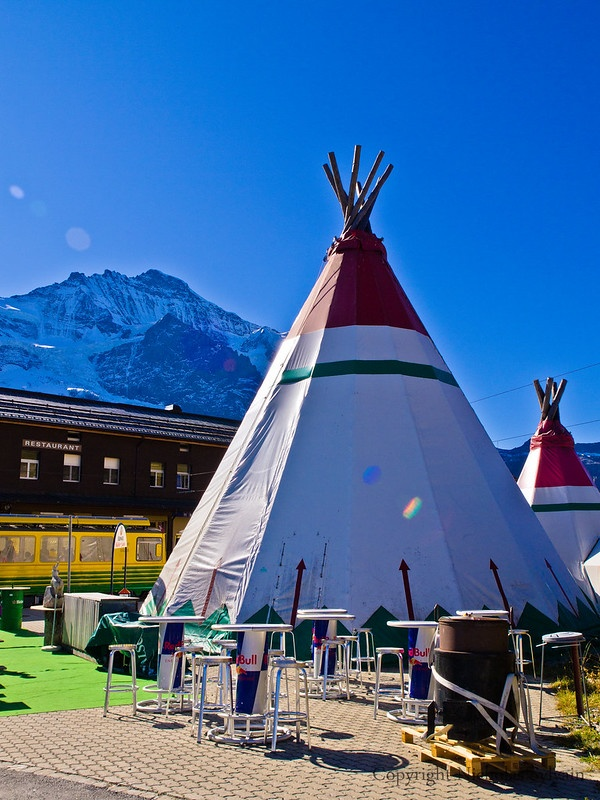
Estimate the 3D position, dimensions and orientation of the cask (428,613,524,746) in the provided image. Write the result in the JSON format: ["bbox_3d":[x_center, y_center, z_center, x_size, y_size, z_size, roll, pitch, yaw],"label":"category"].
[{"bbox_3d":[1.416,2.287,5.032,0.721,0.936,0.611,-2,-17,18],"label":"cask"}]

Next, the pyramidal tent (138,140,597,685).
[{"bbox_3d":[1.265,1.067,15.037,9.326,9.707,9.207,-11,-20,36],"label":"pyramidal tent"}]
